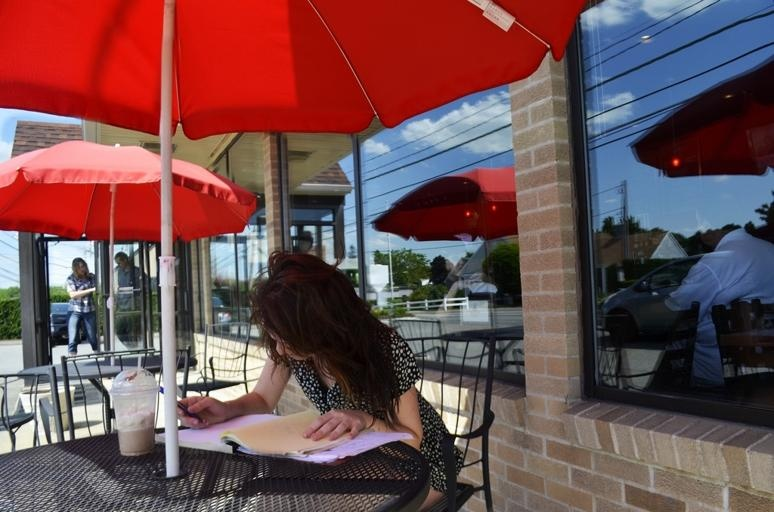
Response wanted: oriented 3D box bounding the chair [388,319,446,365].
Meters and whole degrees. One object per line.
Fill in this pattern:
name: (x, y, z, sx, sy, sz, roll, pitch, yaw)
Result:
chair: (0.287, 0.619, 4.341, 0.323, 0.396, 0.338, -6, -13, -46)
